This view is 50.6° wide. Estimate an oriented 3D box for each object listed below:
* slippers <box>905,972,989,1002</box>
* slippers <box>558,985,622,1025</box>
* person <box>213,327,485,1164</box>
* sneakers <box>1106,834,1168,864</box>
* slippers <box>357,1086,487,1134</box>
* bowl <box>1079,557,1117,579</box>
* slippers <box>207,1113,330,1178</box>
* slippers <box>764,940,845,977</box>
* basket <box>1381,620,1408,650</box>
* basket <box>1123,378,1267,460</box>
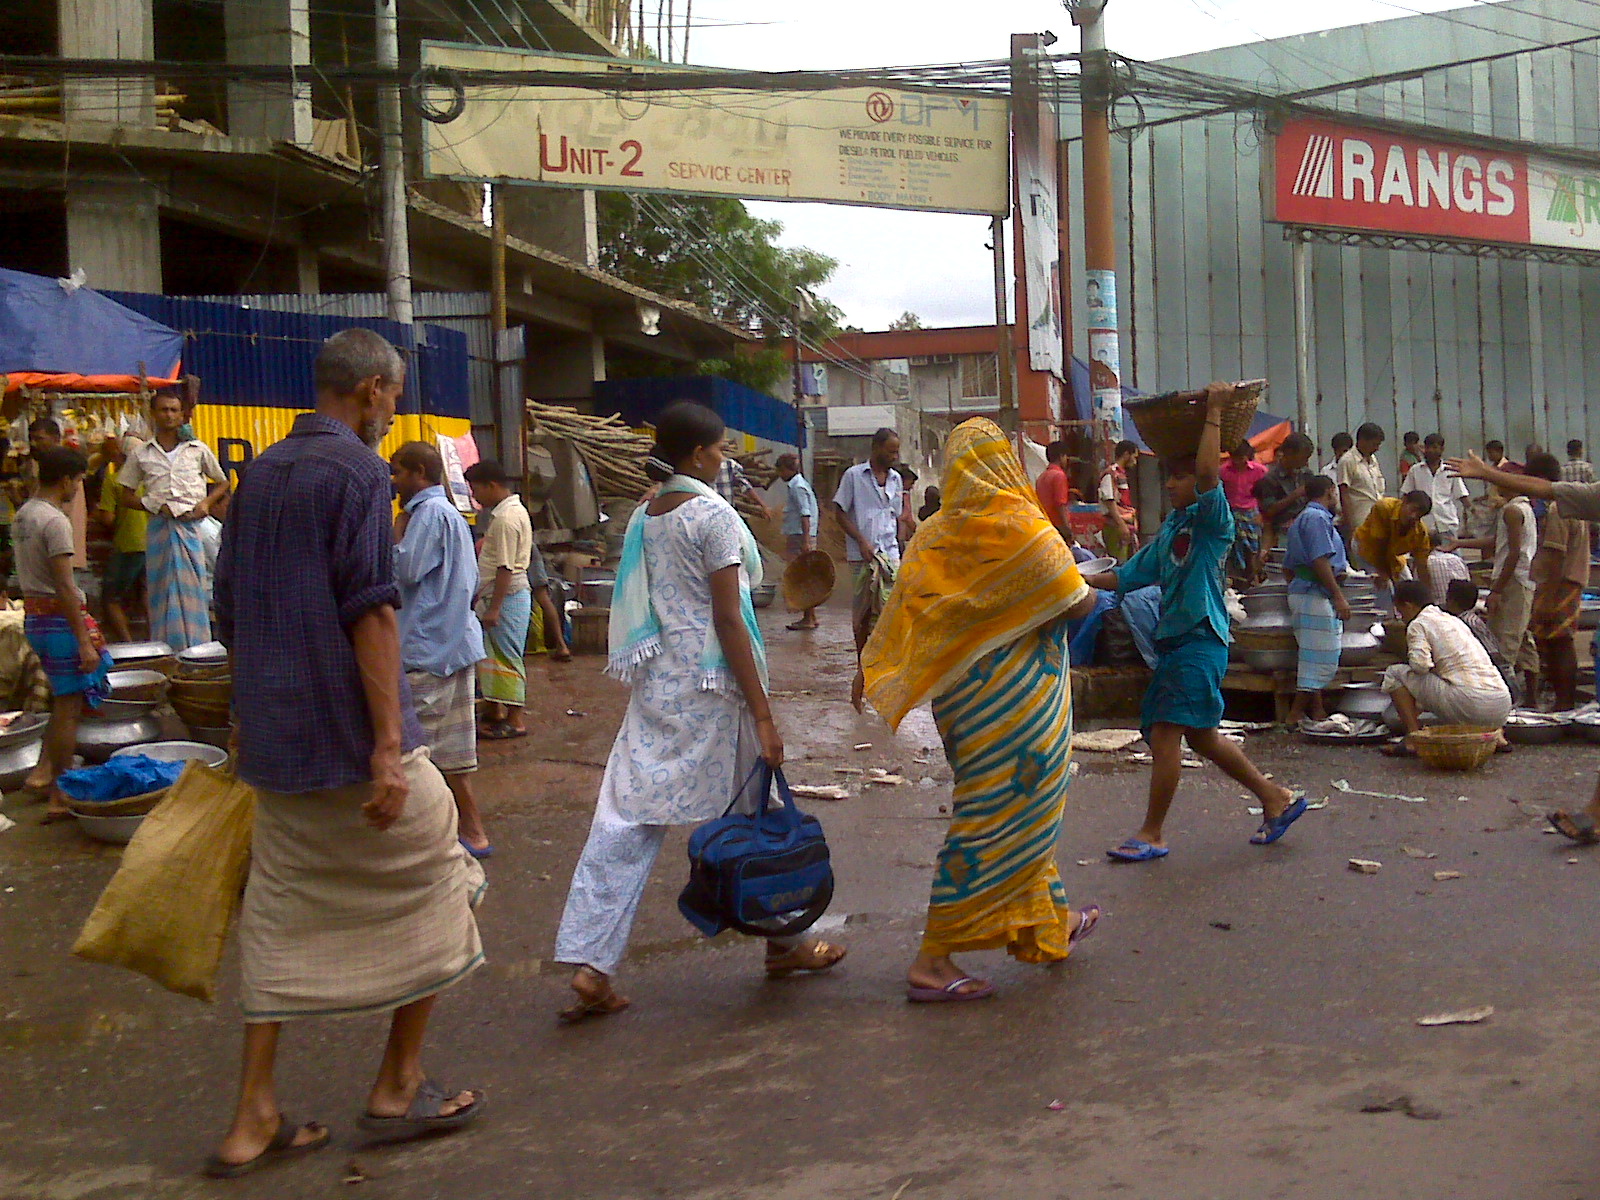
[{"bbox_3d":[0.557,1.421,6.258,0.226,0.067,0.124,-1,0,2],"label":"slippers"},{"bbox_3d":[-0.764,1.496,6.323,0.298,0.122,0.097,-5,9,-33],"label":"slippers"},{"bbox_3d":[-1.492,0.578,5.334,0.861,2.306,0.432,-5,9,-14],"label":"person"},{"bbox_3d":[1.607,1.192,8.004,0.292,0.091,0.111,2,-9,-21],"label":"sneakers"},{"bbox_3d":[-1.214,1.660,5.440,0.312,0.108,0.153,-3,0,-19],"label":"slippers"},{"bbox_3d":[1.553,-0.171,8.757,0.203,0.045,0.196,-3,12,1],"label":"bowl"},{"bbox_3d":[-1.661,1.717,5.280,0.146,0.100,0.350,5,9,41],"label":"slippers"},{"bbox_3d":[0.022,1.396,6.660,0.295,0.136,0.131,-3,1,-14],"label":"slippers"},{"bbox_3d":[4.138,0.238,11.729,0.178,0.134,0.167,1,5,10],"label":"basket"},{"bbox_3d":[1.855,-0.854,7.880,0.461,0.234,0.451,-9,-10,10],"label":"basket"}]
